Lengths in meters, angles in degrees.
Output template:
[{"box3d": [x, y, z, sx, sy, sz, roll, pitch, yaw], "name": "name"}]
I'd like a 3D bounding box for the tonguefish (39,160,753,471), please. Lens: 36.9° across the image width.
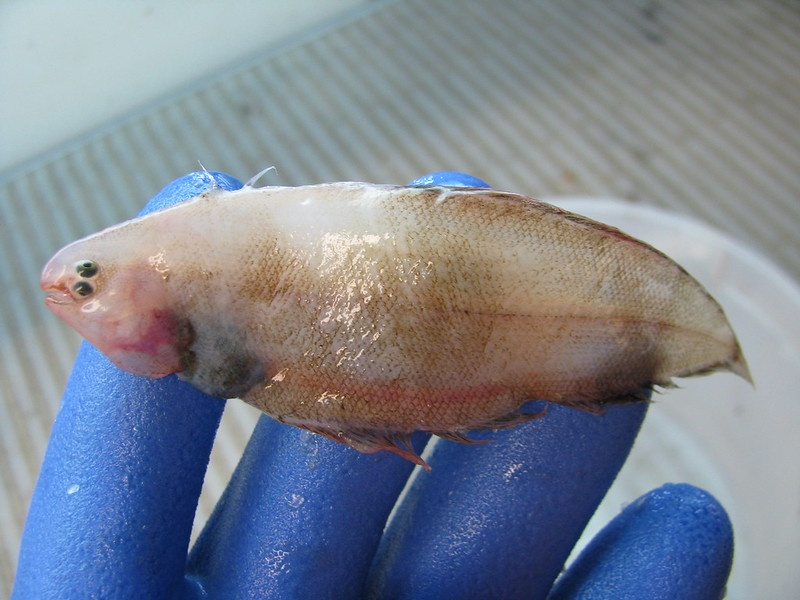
[{"box3d": [-0.032, 0.028, 1.957, 1.282, 0.921, 0.355, 3, 89, -5], "name": "tonguefish"}]
